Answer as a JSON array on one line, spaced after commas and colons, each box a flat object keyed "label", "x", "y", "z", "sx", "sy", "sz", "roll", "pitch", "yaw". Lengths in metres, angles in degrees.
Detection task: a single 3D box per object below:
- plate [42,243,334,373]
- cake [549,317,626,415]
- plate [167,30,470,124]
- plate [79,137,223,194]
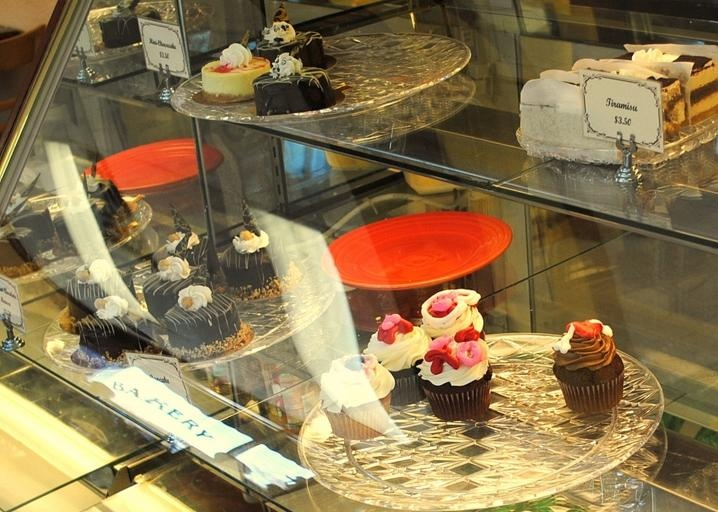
[{"label": "plate", "x": -0.482, "y": 0.093, "z": 1.674, "sx": 0.526, "sy": 0.362, "sz": 0.050, "roll": 0, "pitch": -7, "yaw": -45}, {"label": "cake", "x": 0.483, "y": 0.241, "z": 1.342, "sx": 0.185, "sy": 0.157, "sz": 0.168, "roll": -6, "pitch": 9, "yaw": -36}, {"label": "plate", "x": 0.007, "y": -0.469, "z": 1.605, "sx": 0.495, "sy": 0.032, "sz": 0.487, "roll": -9, "pitch": -7, "yaw": 35}, {"label": "plate", "x": -0.627, "y": -0.265, "z": 1.926, "sx": 0.424, "sy": 0.032, "sz": 0.344, "roll": -12, "pitch": -11, "yaw": -16}]
